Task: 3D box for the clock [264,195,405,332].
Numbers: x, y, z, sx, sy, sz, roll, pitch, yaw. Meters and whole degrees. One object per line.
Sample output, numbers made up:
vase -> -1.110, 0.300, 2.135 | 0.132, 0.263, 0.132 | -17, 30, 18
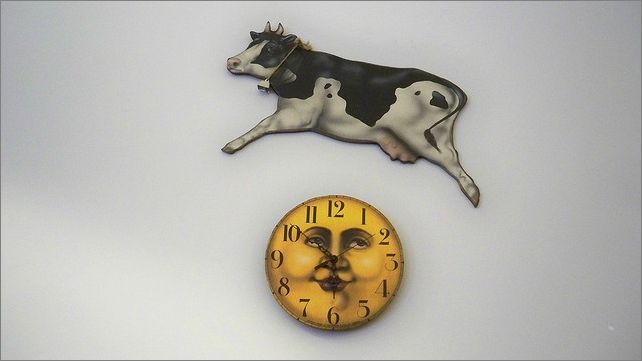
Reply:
clock -> 0.101, 0.646, 10.353 | 0.951, 0.981, 0.107 | 1, -16, 0
